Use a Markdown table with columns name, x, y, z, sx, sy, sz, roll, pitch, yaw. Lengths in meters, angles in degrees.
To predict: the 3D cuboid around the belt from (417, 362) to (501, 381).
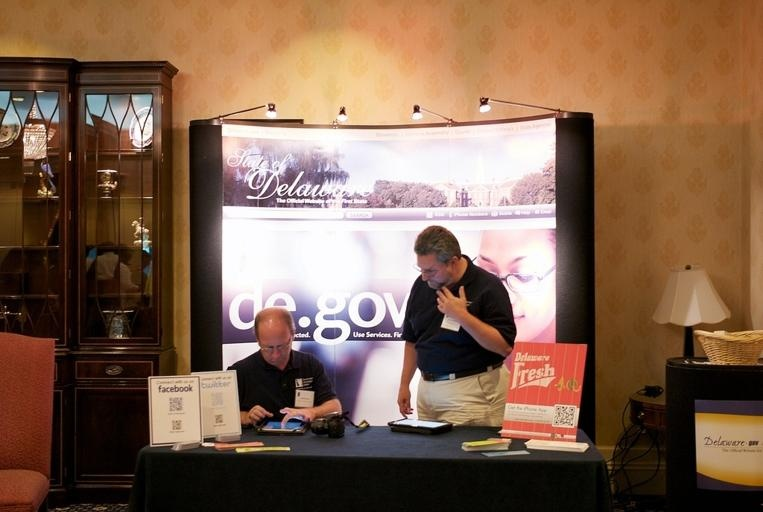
| name | x | y | z | sx | sy | sz | roll | pitch | yaw |
| --- | --- | --- | --- | --- | --- | --- | --- | --- | --- |
| belt | 0.562 | 0.820 | 4.760 | 0.532 | 0.131 | 0.096 | -1 | -2 | 8 |

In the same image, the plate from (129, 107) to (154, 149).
| name | x | y | z | sx | sy | sz | roll | pitch | yaw |
| --- | --- | --- | --- | --- | --- | --- | --- | --- | --- |
| plate | -2.076 | -1.118 | 5.826 | 0.287 | 0.322 | 0.052 | 3 | 10 | 7 |

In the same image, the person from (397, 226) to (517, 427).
| name | x | y | z | sx | sy | sz | roll | pitch | yaw |
| --- | --- | --- | --- | --- | --- | --- | --- | --- | --- |
| person | 0.501 | 0.481 | 4.783 | 0.860 | 1.398 | 0.566 | -1 | -2 | 15 |

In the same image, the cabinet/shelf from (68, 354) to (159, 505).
| name | x | y | z | sx | sy | sz | roll | pitch | yaw |
| --- | --- | --- | --- | --- | --- | --- | --- | --- | --- |
| cabinet/shelf | -2.438 | 1.593 | 5.972 | 0.792 | 1.330 | 0.758 | 5 | -37 | -28 |

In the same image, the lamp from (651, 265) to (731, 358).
| name | x | y | z | sx | sy | sz | roll | pitch | yaw |
| --- | --- | --- | --- | --- | --- | --- | --- | --- | --- |
| lamp | 2.712 | 0.430 | 6.009 | 0.695 | 1.013 | 0.732 | -3 | 2 | 8 |

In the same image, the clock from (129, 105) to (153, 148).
| name | x | y | z | sx | sy | sz | roll | pitch | yaw |
| --- | --- | --- | --- | --- | --- | --- | --- | --- | --- |
| clock | -2.076 | -1.118 | 5.819 | 0.283 | 0.318 | 0.052 | 3 | 10 | 7 |

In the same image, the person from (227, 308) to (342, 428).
| name | x | y | z | sx | sy | sz | roll | pitch | yaw |
| --- | --- | --- | --- | --- | --- | --- | --- | --- | --- |
| person | -0.722 | 0.817 | 4.653 | 0.916 | 0.803 | 0.767 | -2 | 4 | -18 |

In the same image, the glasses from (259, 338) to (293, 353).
| name | x | y | z | sx | sy | sz | roll | pitch | yaw |
| --- | --- | --- | --- | --- | --- | --- | --- | --- | --- |
| glasses | -0.727 | 0.611 | 4.640 | 0.213 | 0.089 | 0.097 | 0 | -2 | -10 |

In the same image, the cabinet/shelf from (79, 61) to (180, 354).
| name | x | y | z | sx | sy | sz | roll | pitch | yaw |
| --- | --- | --- | --- | --- | --- | --- | --- | --- | --- |
| cabinet/shelf | -2.322 | -0.359 | 6.020 | 0.736 | 2.583 | 0.378 | 0 | 15 | -22 |
